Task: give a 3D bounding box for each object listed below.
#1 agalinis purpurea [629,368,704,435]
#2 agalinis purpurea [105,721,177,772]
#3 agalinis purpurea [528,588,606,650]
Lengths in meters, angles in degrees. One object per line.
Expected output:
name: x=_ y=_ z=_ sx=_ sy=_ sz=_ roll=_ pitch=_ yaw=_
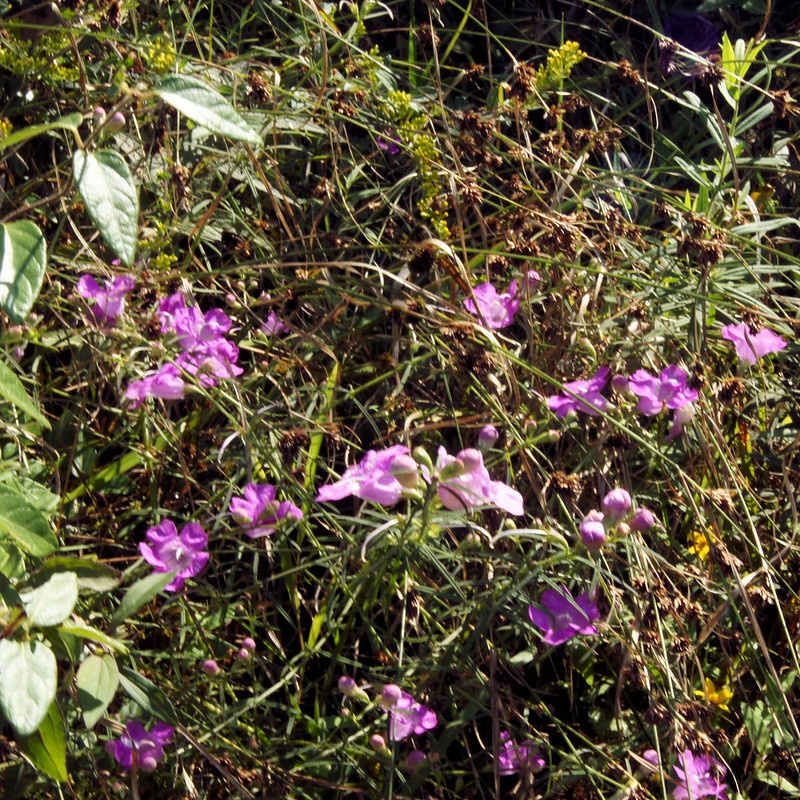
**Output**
agalinis purpurea: x=0.615 y=-0.023 z=2.218 sx=0.059 sy=0.161 sz=0.130 roll=-12 pitch=34 yaw=-40
agalinis purpurea: x=-0.535 y=0.718 z=1.957 sx=0.093 sy=0.059 sz=0.134 roll=10 pitch=64 yaw=-8
agalinis purpurea: x=0.326 y=0.438 z=1.915 sx=0.106 sy=0.057 sz=0.125 roll=20 pitch=64 yaw=30
